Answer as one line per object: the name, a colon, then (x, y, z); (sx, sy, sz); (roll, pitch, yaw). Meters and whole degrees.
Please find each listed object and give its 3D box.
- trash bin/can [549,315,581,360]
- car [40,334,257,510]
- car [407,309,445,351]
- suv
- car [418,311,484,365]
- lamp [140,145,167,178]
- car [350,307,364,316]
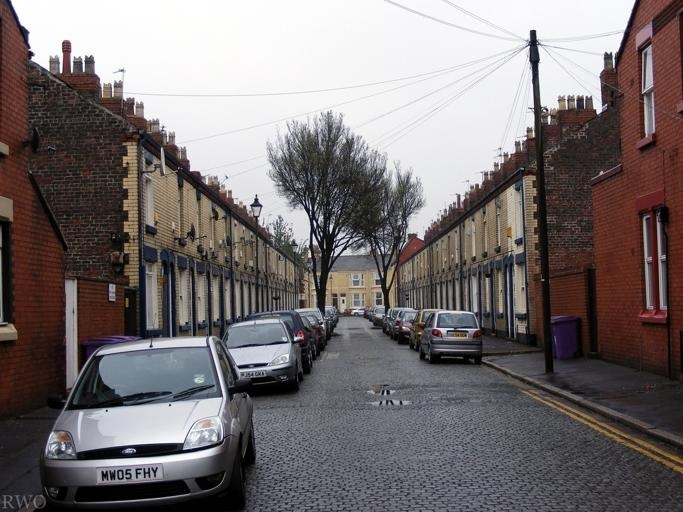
trash bin/can: (7.356, 2.606, 21.305); (1.109, 1.341, 0.634); (4, 1, -9)
car: (-2.236, 1.981, 7.882); (2.221, 1.103, 1.735); (4, 1, -4)
car: (3.585, 2.984, 27.973); (0.955, 1.056, 1.894); (0, 0, 1)
suv: (-1.518, 2.510, 20.125); (1.201, 1.295, 2.317); (-1, 0, 6)
car: (3.805, 2.662, 22.898); (1.180, 1.243, 2.376); (0, 0, 2)
lamp: (-6.727, -3.300, 23.446); (0.859, 1.065, 2.608); (3, 1, -17)
car: (2.665, 9.511, 110.660); (2.093, 0.887, 1.018); (-3, 8, 13)
